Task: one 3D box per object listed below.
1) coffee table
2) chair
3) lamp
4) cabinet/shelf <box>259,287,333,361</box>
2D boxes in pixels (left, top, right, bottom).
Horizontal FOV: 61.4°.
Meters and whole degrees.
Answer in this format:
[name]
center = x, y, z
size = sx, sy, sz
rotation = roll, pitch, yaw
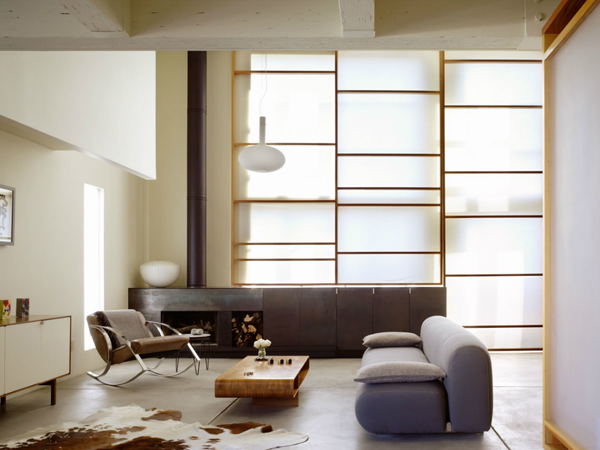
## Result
[coffee table]
center = -0.405, 1.760, 5.569
size = 0.792, 0.408, 1.141
rotation = 0, -1, 9
[chair]
center = -2.154, 1.531, 6.826
size = 1.297, 1.007, 0.965
rotation = -2, -6, 29
[lamp]
center = -0.556, -1.211, 7.443
size = 0.719, 1.378, 0.753
rotation = 0, 7, -8
[cabinet/shelf]
center = -0.045, 1.589, 8.105
size = 0.998, 0.958, 0.351
rotation = 0, -1, 1
